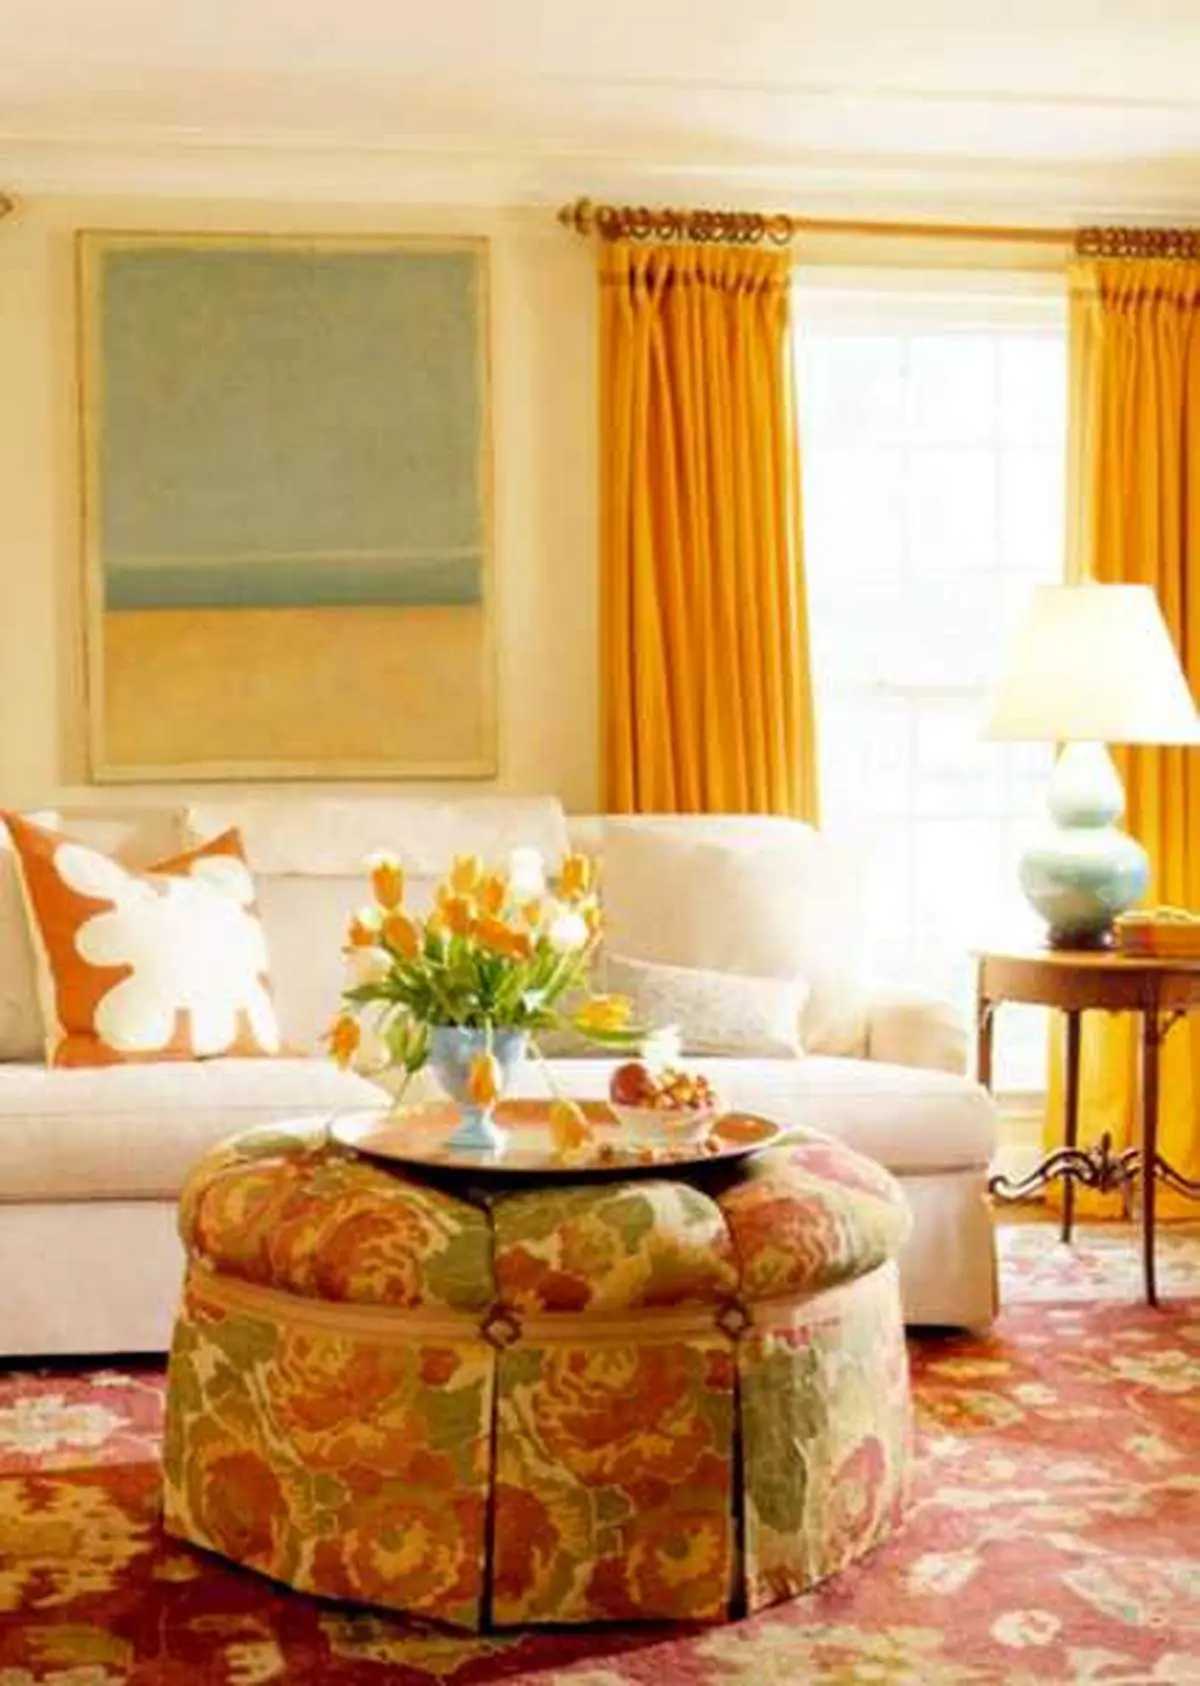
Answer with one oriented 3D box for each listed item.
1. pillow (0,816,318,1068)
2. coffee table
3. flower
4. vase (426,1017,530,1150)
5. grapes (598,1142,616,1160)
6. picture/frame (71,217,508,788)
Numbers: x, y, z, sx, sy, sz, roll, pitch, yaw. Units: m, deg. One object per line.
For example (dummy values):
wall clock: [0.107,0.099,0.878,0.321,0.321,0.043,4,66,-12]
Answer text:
pillow: [-0.829,0.201,3.099,0.507,0.425,0.271,-1,-7,-33]
coffee table: [-0.088,0.555,1.975,0.619,0.283,0.580,0,-2,0]
flower: [-0.166,0.204,2.134,0.336,0.286,0.349,8,-6,30]
vase: [-0.154,0.314,2.119,0.137,0.142,0.128,1,-16,1]
grapes: [0.007,0.367,1.978,0.017,0.015,0.016,13,-29,-7]
picture/frame: [-0.732,-0.791,3.894,0.938,0.865,0.065,1,0,-8]
